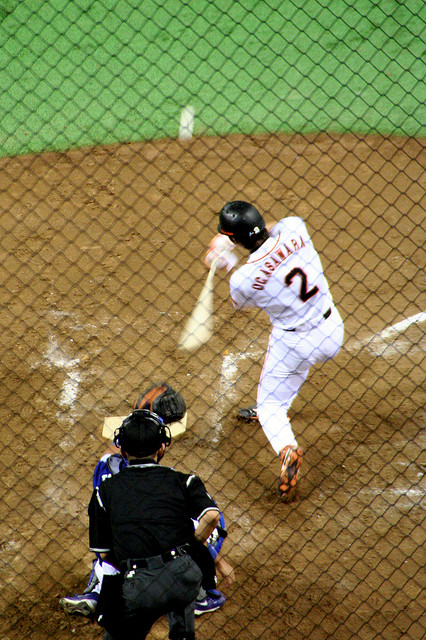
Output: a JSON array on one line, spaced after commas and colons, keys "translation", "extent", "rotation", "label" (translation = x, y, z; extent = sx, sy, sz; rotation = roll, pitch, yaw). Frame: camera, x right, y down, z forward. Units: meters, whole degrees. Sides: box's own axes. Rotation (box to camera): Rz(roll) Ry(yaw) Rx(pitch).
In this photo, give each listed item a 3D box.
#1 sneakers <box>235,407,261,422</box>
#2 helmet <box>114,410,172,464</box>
[{"translation": [0.251, 0.685, 6.341], "extent": [0.164, 0.141, 0.050], "rotation": [0, 99, -4], "label": "sneakers"}, {"translation": [-0.334, 0.616, 4.671], "extent": [0.321, 0.279, 0.280], "rotation": [1, 49, -1], "label": "helmet"}]
